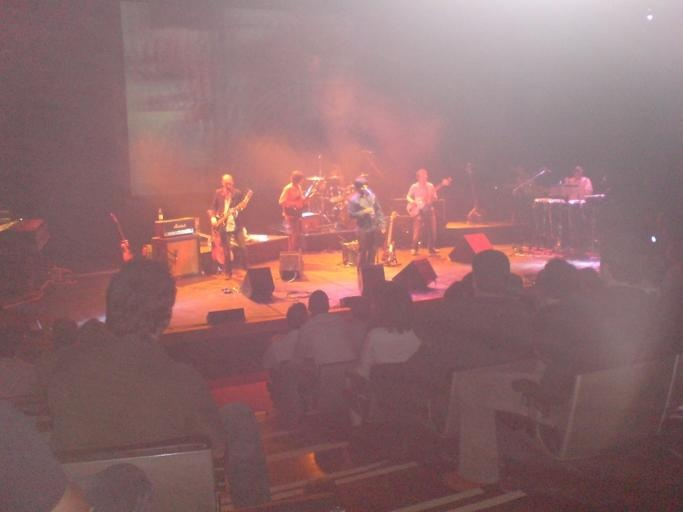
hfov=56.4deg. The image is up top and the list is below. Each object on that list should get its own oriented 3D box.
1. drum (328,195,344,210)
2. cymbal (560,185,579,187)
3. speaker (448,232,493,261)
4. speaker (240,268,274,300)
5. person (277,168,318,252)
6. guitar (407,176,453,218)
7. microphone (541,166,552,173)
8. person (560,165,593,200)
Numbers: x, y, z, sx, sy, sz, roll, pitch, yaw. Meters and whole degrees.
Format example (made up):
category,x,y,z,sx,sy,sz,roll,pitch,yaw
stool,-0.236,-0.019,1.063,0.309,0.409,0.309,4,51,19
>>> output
category,x,y,z,sx,sy,sz,roll,pitch,yaw
drum,-0.055,-0.847,10.154,0.217,0.169,0.084,-3,-10,31
cymbal,3.181,-0.973,8.851,0.213,0.042,0.212,0,8,18
speaker,1.715,-0.020,8.689,0.498,0.331,0.517,-1,7,43
speaker,-0.937,0.300,7.051,0.296,0.430,0.357,-3,10,-26
person,-0.668,-0.704,9.679,0.467,1.338,0.559,1,36,7
guitar,1.274,-0.913,9.387,0.810,0.405,0.115,-39,-2,20
microphone,2.876,-1.187,8.969,0.112,0.110,0.025,16,-13,12
person,3.297,-1.030,8.925,0.385,0.283,0.759,-6,36,22
